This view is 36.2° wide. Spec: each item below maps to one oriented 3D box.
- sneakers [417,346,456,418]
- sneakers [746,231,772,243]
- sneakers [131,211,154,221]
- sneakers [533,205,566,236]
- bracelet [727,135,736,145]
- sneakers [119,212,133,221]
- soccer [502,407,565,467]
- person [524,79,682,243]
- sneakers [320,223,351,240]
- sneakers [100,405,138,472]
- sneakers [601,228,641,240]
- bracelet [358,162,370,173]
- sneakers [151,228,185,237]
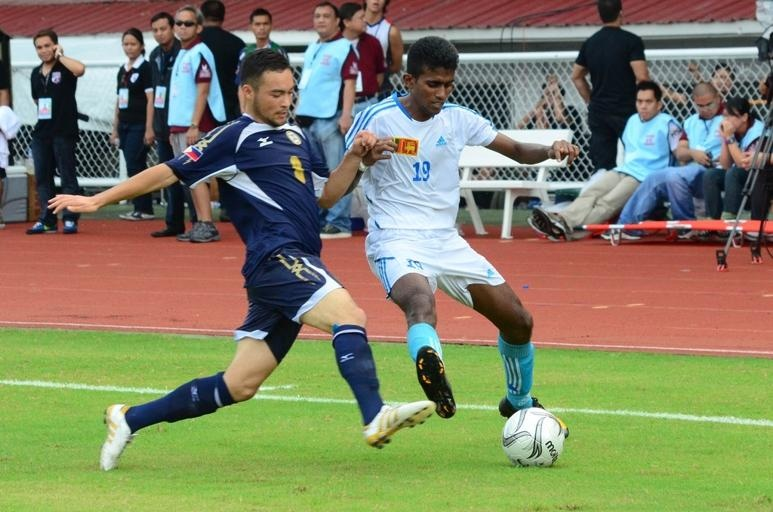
[{"bbox_3d":[0.285,0.786,7.133,0.229,0.452,0.236,-2,14,0],"label":"sneakers"},{"bbox_3d":[4.063,-0.214,12.914,0.340,0.110,0.098,7,-7,-8],"label":"sneakers"},{"bbox_3d":[-3.614,-0.588,17.268,0.369,0.120,0.123,7,0,-29],"label":"sneakers"},{"bbox_3d":[1.861,-0.399,13.903,0.234,0.231,0.450,-32,-32,19],"label":"sneakers"},{"bbox_3d":[3.731,-1.257,12.778,0.101,0.052,0.103,0,-1,7],"label":"bracelet"},{"bbox_3d":[-3.898,-0.597,17.523,0.123,0.098,0.288,9,7,-35],"label":"sneakers"},{"bbox_3d":[0.906,1.135,7.325,0.345,0.257,0.382,1,-2,12],"label":"soccer"},{"bbox_3d":[2.527,-1.080,13.581,2.153,1.143,1.008,-37,37,-25],"label":"person"},{"bbox_3d":[-0.638,-0.301,14.634,0.433,0.139,0.150,4,5,-19],"label":"sneakers"},{"bbox_3d":[-1.697,1.120,7.322,0.227,0.393,0.152,2,-22,20],"label":"sneakers"},{"bbox_3d":[2.750,-0.267,13.905,0.453,0.145,0.142,-1,6,-1],"label":"sneakers"},{"bbox_3d":[-0.161,-0.581,7.747,0.060,0.033,0.064,19,-4,-11],"label":"bracelet"},{"bbox_3d":[-2.818,-0.296,14.972,0.483,0.143,0.139,3,1,-15],"label":"sneakers"}]
